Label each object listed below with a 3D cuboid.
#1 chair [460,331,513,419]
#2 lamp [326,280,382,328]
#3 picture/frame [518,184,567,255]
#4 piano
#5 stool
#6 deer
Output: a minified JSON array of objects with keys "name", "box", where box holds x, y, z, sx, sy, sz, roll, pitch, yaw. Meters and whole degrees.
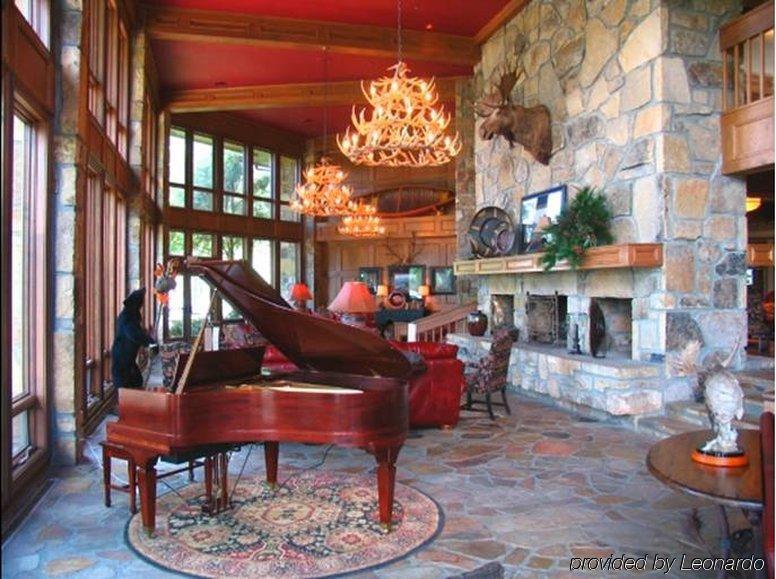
[{"name":"chair","box":[1.077,1.046,7.335,0.718,0.938,0.720,-7,-7,-17]},{"name":"lamp","box":[-0.407,0.278,7.477,0.603,0.755,0.612,-1,9,1]},{"name":"picture/frame","box":[2.268,-1.059,9.102,0.307,0.989,1.221,-1,6,-11]},{"name":"piano","box":[-0.828,0.758,4.948,2.028,2.276,2.407,2,2,42]},{"name":"stool","box":[-1.794,1.438,4.943,0.572,0.401,0.848,-8,-6,38]},{"name":"deer","box":[1.905,-2.539,9.165,1.011,1.442,1.285,-1,-3,9]}]
